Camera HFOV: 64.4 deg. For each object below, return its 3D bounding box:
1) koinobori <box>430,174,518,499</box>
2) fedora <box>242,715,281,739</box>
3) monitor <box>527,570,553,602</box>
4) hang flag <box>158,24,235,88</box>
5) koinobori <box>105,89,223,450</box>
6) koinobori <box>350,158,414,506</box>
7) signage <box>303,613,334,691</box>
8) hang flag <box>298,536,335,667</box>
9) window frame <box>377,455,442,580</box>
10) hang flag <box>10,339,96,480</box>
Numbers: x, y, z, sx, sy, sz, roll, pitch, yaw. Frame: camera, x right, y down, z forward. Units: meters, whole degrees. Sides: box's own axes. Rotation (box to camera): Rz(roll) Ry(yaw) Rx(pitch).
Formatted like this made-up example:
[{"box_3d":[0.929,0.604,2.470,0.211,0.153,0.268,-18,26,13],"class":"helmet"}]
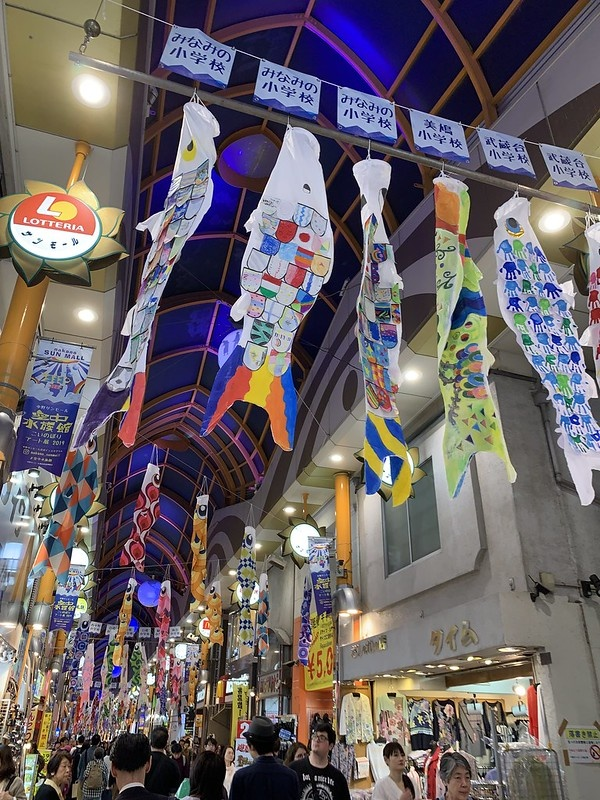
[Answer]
[{"box_3d":[1.048,-0.517,3.164,0.426,2.515,0.513,-11,-31,22],"class":"koinobori"},{"box_3d":[-0.164,1.288,1.861,0.100,0.050,0.123,10,-12,-23],"class":"fedora"},{"box_3d":[2.783,2.225,5.579,0.290,0.322,0.215,-5,-30,11],"class":"monitor"},{"box_3d":[-0.545,-1.879,2.587,0.342,0.021,0.369,8,-5,-17],"class":"hang flag"},{"box_3d":[-0.671,-0.856,2.521,0.336,2.294,0.584,17,-32,-25],"class":"koinobori"},{"box_3d":[0.524,-0.708,3.277,0.342,2.928,0.840,-6,-30,13],"class":"koinobori"},{"box_3d":[0.375,5.084,9.545,0.084,1.913,1.320,12,-25,-24],"class":"signage"},{"box_3d":[0.324,3.993,9.539,0.740,2.830,0.280,-3,-53,5],"class":"hang flag"},{"box_3d":[1.949,2.156,8.491,0.091,1.574,2.008,0,8,43],"class":"window frame"},{"box_3d":[-2.987,0.041,5.755,0.736,1.884,0.323,5,-29,-7],"class":"hang flag"}]
